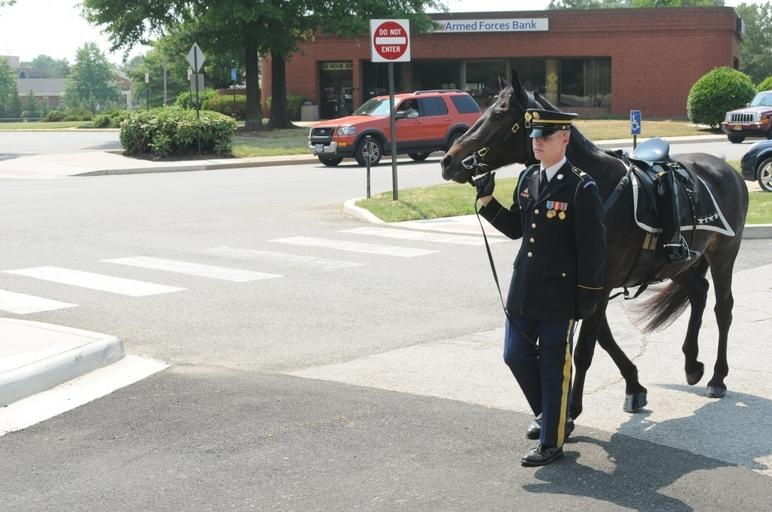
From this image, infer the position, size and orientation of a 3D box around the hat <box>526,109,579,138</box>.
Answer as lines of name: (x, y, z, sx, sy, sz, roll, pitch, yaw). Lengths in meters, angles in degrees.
hat: (1.349, -1.089, 7.742, 0.404, 0.252, 0.374, 1, 11, 6)

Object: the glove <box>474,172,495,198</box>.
glove: (0.808, -0.595, 7.826, 0.232, 0.184, 0.185, -4, 3, -28)

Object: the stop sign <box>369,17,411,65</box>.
stop sign: (0.055, -4.410, 19.256, 0.794, 0.855, 0.912, -1, 12, -3)

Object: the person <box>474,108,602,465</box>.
person: (1.288, 0.253, 7.808, 0.997, 2.909, 0.786, 4, 13, 20)

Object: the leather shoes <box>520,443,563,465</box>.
leather shoes: (1.274, 1.655, 7.737, 0.421, 0.141, 0.140, -6, 5, -25)

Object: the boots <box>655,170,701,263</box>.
boots: (2.570, -0.374, 8.505, 0.300, 0.753, 0.494, 4, 1, 1)
